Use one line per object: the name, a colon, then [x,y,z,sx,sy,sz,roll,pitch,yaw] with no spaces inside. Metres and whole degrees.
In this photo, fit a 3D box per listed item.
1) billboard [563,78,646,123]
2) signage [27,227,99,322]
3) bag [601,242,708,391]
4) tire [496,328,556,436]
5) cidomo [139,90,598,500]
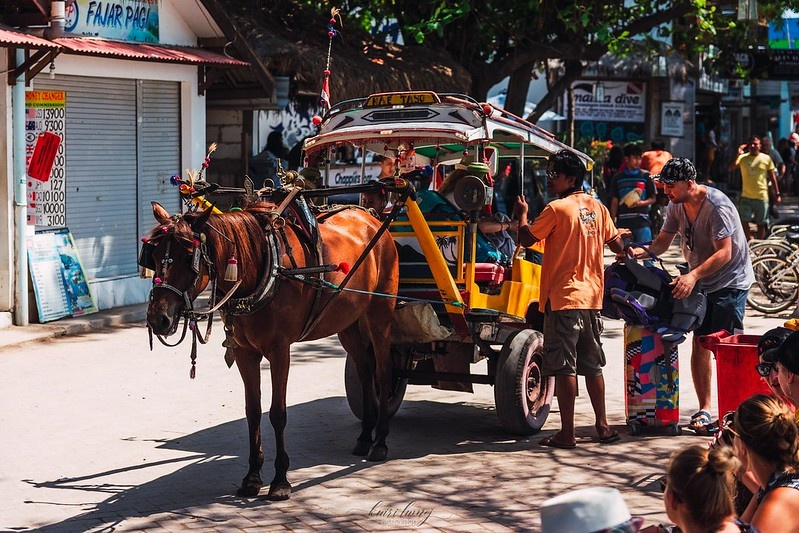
billboard: [6.105,-4.712,30.421,2.170,1.261,0.062,-2,5,-6]
signage: [-5.308,0.163,15.892,0.118,1.467,1.359,-18,-2,30]
bag: [2.530,0.320,11.009,1.094,0.955,1.129,-26,-6,20]
tire: [1.324,1.195,10.687,0.272,0.922,0.845,0,-29,31]
cidomo: [-0.384,0.253,11.098,3.214,4.137,6.254,9,8,33]
